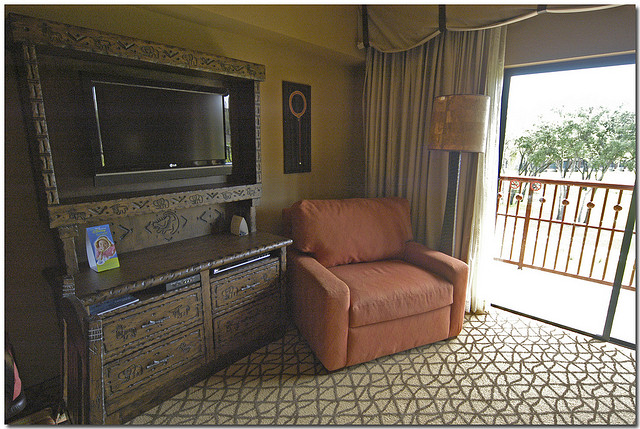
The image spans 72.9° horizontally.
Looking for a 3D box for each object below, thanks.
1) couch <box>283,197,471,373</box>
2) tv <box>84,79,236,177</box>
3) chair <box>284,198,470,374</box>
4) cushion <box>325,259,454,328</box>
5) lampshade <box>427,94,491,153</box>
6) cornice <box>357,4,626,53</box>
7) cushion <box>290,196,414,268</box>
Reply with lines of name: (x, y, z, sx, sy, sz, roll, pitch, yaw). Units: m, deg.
couch: (0.501, 0.547, 4.174, 1.542, 1.214, 1.126, -5, 18, -26)
tv: (-1.366, -0.715, 3.559, 0.904, 0.577, 0.092, -7, 14, -32)
chair: (0.516, 0.553, 4.170, 1.608, 1.179, 1.194, -3, 16, -22)
cushion: (0.639, 0.685, 3.933, 0.995, 0.339, 0.585, -4, 13, -16)
lampshade: (1.289, -0.802, 3.964, 0.518, 0.501, 0.493, 3, 5, 17)
cornice: (1.168, -1.831, 4.038, 1.861, 0.478, 0.081, 7, 16, 33)
cushion: (0.367, 0.186, 4.366, 1.350, 0.657, 0.413, -3, 0, -25)
